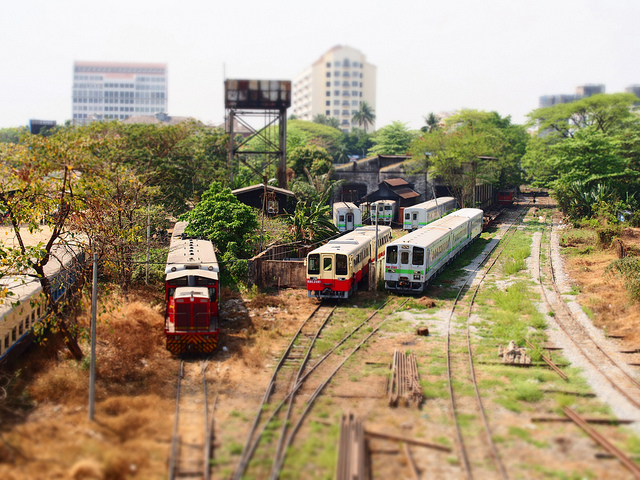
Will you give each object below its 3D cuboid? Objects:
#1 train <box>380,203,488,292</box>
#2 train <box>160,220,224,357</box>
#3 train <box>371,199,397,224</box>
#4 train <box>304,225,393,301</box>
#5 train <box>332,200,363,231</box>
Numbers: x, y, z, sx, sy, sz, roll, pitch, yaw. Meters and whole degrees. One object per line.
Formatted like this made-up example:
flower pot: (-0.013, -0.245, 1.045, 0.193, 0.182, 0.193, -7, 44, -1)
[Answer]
train: (9.291, -0.137, 54.436, 4.036, 4.832, 26.179, 4, 13, 21)
train: (-6.982, 2.807, 36.914, 3.268, 4.247, 9.401, -4, 13, -12)
train: (6.263, -2.620, 69.141, 1.520, 2.582, 7.282, 1, 11, 8)
train: (2.422, 1.183, 46.883, 2.696, 3.585, 14.174, 1, 9, 18)
train: (2.663, -2.314, 67.197, 2.351, 2.887, 8.938, -3, 7, 0)
